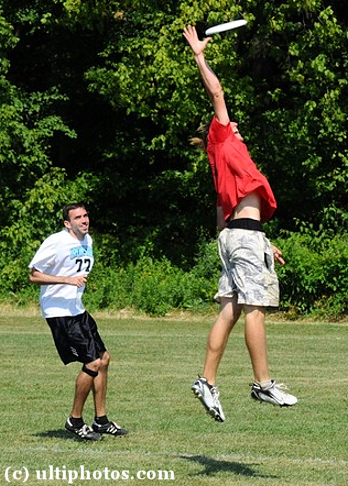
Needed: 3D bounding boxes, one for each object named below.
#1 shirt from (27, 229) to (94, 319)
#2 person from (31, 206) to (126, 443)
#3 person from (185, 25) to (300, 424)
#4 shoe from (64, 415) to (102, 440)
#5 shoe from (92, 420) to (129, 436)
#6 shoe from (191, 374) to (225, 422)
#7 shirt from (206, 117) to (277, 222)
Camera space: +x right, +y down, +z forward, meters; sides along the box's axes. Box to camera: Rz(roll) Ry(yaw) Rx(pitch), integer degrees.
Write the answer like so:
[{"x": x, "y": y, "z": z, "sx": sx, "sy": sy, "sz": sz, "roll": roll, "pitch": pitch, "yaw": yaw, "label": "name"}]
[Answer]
[{"x": -0.830, "y": 0.219, "z": 5.959, "sx": 0.430, "sy": 0.654, "sz": 0.451, "roll": -2, "pitch": -1, "yaw": -2, "label": "shirt"}, {"x": -0.739, "y": 0.579, "z": 6.119, "sx": 0.630, "sy": 1.709, "sz": 1.115, "roll": -2, "pitch": -1, "yaw": -7, "label": "person"}, {"x": 0.391, "y": -0.165, "z": 5.152, "sx": 0.625, "sy": 1.896, "sz": 0.635, "roll": -2, "pitch": -1, "yaw": 2, "label": "person"}, {"x": -0.651, "y": 1.349, "z": 5.817, "sx": 0.279, "sy": 0.107, "sz": 0.126, "roll": 21, "pitch": 26, "yaw": 14, "label": "shoe"}, {"x": -0.474, "y": 1.370, "z": 5.917, "sx": 0.277, "sy": 0.112, "sz": 0.098, "roll": 4, "pitch": 1, "yaw": -3, "label": "shoe"}, {"x": 0.206, "y": 0.964, "z": 4.908, "sx": 0.180, "sy": 0.208, "sz": 0.184, "roll": -2, "pitch": -1, "yaw": 1, "label": "shoe"}, {"x": 0.428, "y": -0.477, "z": 5.176, "sx": 0.432, "sy": 0.500, "sz": 0.347, "roll": -2, "pitch": -1, "yaw": 2, "label": "shirt"}]
